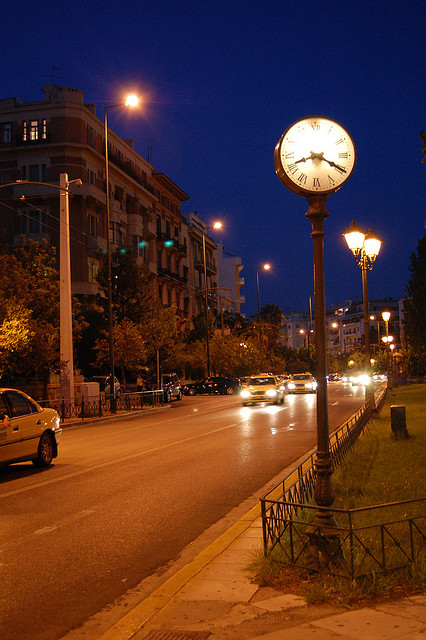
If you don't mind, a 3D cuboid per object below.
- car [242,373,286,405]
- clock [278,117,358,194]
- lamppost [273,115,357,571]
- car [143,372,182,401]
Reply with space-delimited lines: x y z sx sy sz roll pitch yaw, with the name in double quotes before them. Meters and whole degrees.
"car" 2.829 3.968 34.853 2.097 1.515 3.079 -3 -5 11
"clock" 0.870 -1.316 5.252 0.660 0.799 0.236 2 -22 4
"lamppost" 0.854 -0.007 5.117 0.828 4.113 0.580 -2 -2 8
"car" -3.345 4.616 43.278 1.336 1.485 2.490 -3 -9 10
